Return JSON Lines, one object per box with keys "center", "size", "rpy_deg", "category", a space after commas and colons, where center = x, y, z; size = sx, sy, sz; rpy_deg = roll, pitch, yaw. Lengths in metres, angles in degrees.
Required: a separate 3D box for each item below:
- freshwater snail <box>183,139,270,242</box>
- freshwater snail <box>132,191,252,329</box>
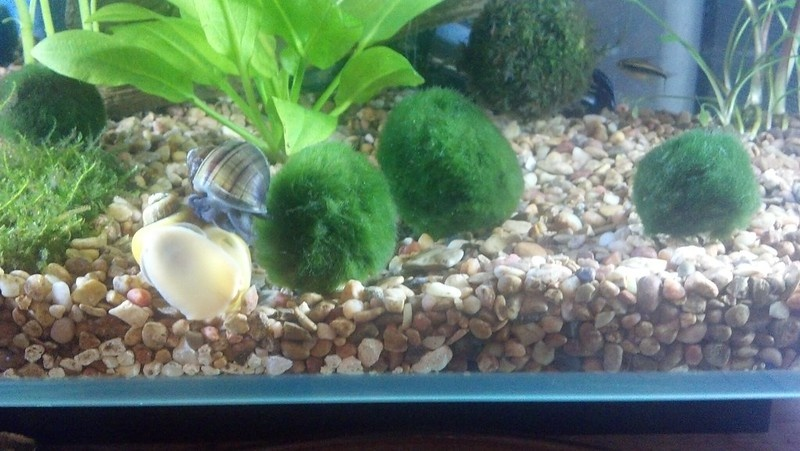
{"center": [-0.561, -0.096, 2.220], "size": [0.273, 0.317, 0.157], "rpy_deg": [10, 0, 13], "category": "freshwater snail"}
{"center": [-0.656, 0.137, 2.208], "size": [0.316, 0.321, 0.185], "rpy_deg": [11, 30, 13], "category": "freshwater snail"}
